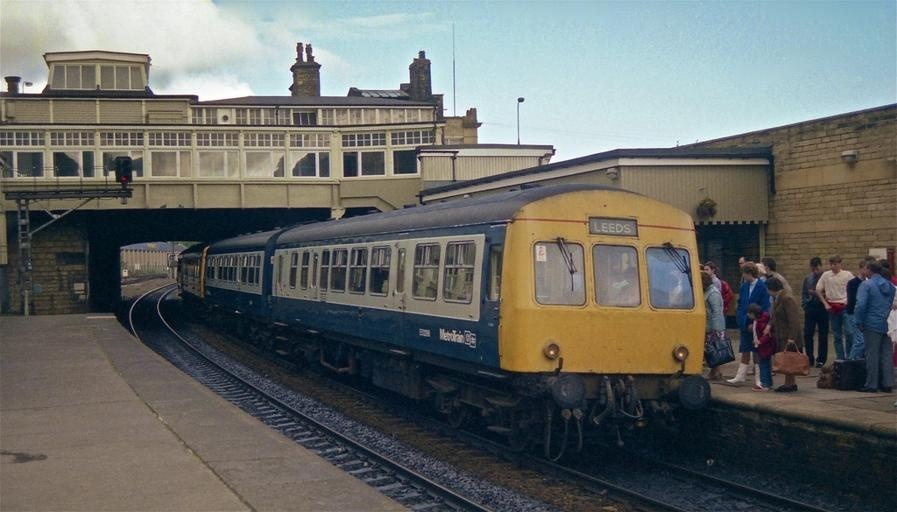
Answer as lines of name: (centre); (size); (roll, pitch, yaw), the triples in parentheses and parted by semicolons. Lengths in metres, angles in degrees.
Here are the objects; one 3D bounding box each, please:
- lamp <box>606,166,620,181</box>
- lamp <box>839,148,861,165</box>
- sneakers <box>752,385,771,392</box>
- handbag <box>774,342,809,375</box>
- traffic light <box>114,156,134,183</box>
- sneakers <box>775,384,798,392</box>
lamp: (5.160, -2.631, 28.014); (0.439, 0.429, 0.214); (10, 11, 26)
lamp: (12.476, -3.104, 27.488); (0.486, 0.405, 0.474); (-2, 0, -38)
sneakers: (7.696, 3.221, 21.760); (0.391, 0.110, 0.152); (4, 2, 27)
handbag: (8.212, 2.436, 21.275); (0.832, 0.726, 0.306); (3, -5, 4)
traffic light: (-12.550, -3.263, 33.938); (0.532, 1.052, 0.888); (0, 11, -27)
sneakers: (8.250, 3.182, 21.634); (0.595, 0.181, 0.205); (2, 0, 0)
